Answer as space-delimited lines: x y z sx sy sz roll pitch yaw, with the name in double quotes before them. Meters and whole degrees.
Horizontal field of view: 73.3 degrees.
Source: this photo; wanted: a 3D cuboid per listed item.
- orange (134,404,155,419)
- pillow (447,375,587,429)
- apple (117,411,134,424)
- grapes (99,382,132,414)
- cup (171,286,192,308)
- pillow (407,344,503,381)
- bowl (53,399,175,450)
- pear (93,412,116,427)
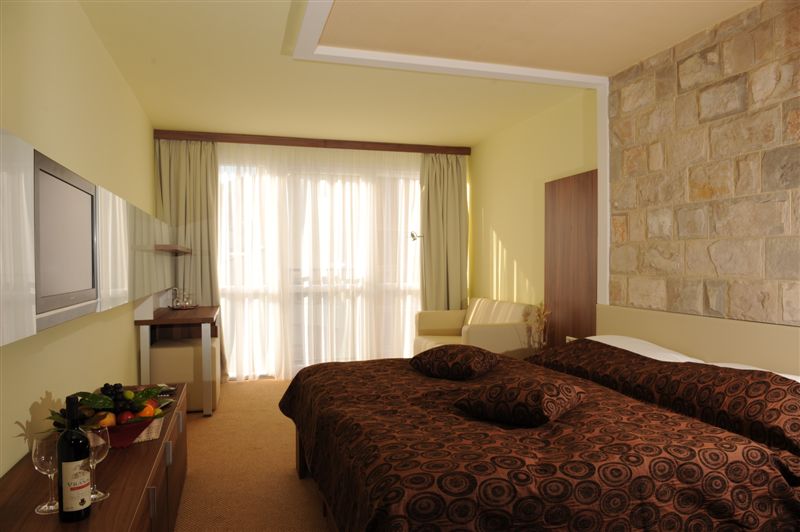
"orange" -1.417 0.817 2.994 0.071 0.069 0.087 27 -48 -30
"pillow" 0.663 0.758 2.995 0.373 0.135 0.402 -9 0 6
"apple" -1.485 0.821 2.901 0.076 0.059 0.060 -30 -7 18
"grapes" -1.585 0.735 2.995 0.119 0.089 0.212 2 6 -29
"cup" -2.551 0.367 6.243 0.235 0.210 0.124 3 -13 -25
"pillow" 0.435 0.694 3.810 0.325 0.113 0.337 -7 3 -26
"bowl" -1.512 0.854 2.890 0.429 0.140 0.415 -1 -4 0
"pear" -1.556 0.819 2.845 0.081 0.074 0.079 -20 -19 -23
